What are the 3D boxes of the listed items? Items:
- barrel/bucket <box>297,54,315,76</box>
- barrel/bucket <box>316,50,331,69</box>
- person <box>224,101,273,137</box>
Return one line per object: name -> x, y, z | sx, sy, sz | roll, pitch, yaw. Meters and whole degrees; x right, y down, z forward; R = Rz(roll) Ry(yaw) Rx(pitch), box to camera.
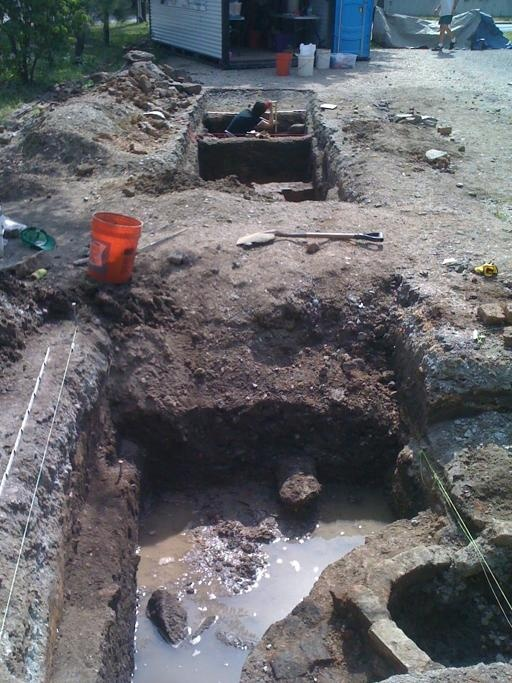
barrel/bucket -> 0.963, -5.369, 12.347 | 0.305, 0.391, 0.379 | 4, 27, 2
barrel/bucket -> 1.403, -5.872, 13.210 | 0.358, 0.382, 0.342 | -1, 56, 2
person -> -0.042, -3.363, 9.499 | 0.533, 0.463, 0.941 | 18, 30, 27
